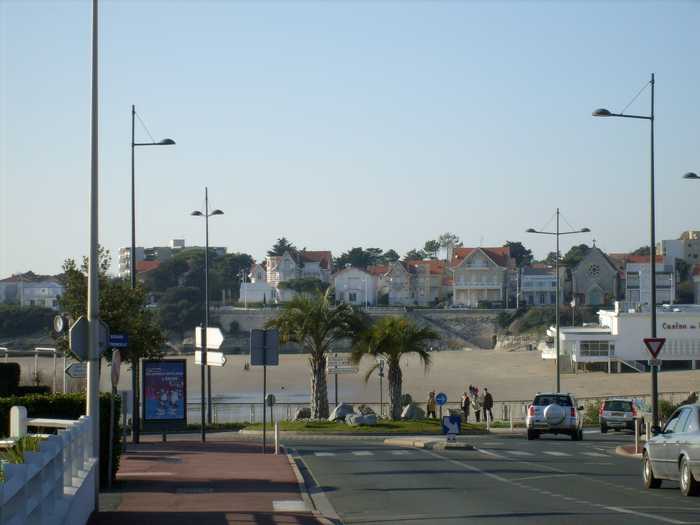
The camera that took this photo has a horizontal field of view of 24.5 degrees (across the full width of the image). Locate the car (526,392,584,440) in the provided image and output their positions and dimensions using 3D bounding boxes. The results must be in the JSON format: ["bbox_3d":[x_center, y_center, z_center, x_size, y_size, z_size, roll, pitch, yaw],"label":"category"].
[{"bbox_3d":[8.909,6.954,73.834,2.378,2.135,3.241,-5,-8,18],"label":"car"}]
